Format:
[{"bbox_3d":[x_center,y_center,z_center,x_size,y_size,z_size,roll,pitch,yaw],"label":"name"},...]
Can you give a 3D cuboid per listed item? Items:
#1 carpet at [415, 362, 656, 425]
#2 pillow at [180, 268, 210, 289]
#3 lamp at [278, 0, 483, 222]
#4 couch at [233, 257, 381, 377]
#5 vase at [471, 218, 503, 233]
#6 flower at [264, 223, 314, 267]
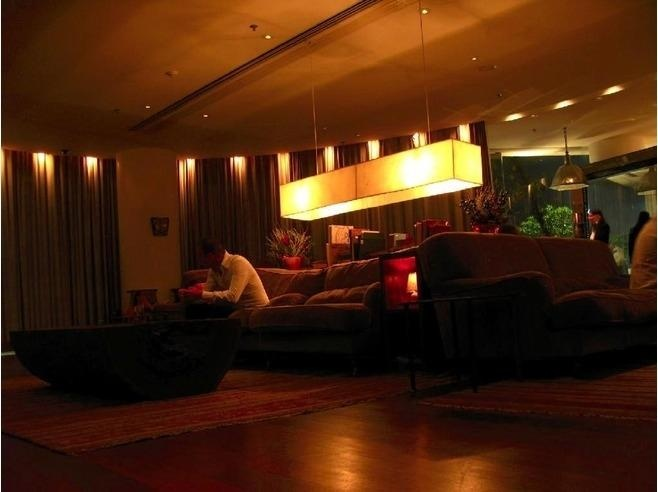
[{"bbox_3d":[0.969,0.621,2.345,0.885,0.086,0.955,-7,-6,33],"label":"carpet"},{"bbox_3d":[-1.344,0.317,5.133,0.286,0.257,0.286,4,-8,-31],"label":"pillow"},{"bbox_3d":[0.632,-1.214,4.480,1.740,0.903,0.442,-13,33,-22],"label":"lamp"},{"bbox_3d":[-0.155,0.526,3.956,0.798,0.777,1.535,0,-6,-35],"label":"couch"},{"bbox_3d":[1.135,-0.143,3.789,0.233,0.115,0.255,-8,-6,38],"label":"vase"},{"bbox_3d":[-0.578,-0.016,7.319,0.613,0.700,0.627,-15,24,-13],"label":"flower"}]
